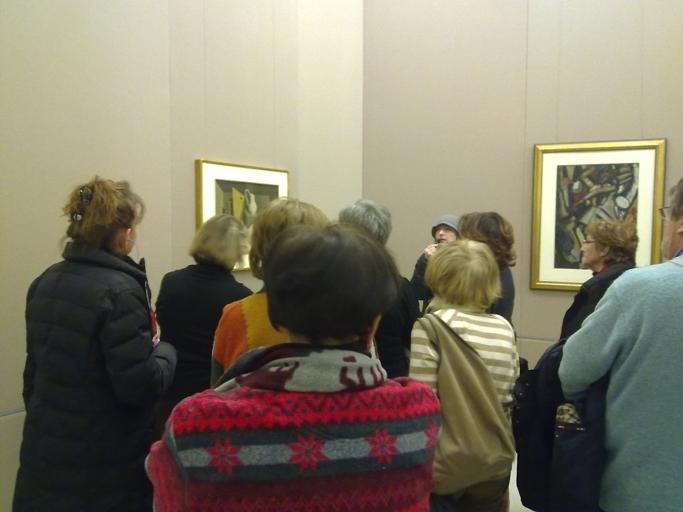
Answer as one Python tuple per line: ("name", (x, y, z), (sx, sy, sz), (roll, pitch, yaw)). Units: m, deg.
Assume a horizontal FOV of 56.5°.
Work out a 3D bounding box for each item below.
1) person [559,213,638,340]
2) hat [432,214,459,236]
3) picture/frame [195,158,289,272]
("person", (1.771, 0.233, 4.345), (0.455, 0.927, 0.889), (9, 0, 34))
("hat", (0.950, -0.296, 5.572), (0.215, 0.123, 0.166), (9, -17, -35))
("picture/frame", (-0.740, -0.295, 4.383), (0.034, 0.743, 0.928), (1, 4, 38))
